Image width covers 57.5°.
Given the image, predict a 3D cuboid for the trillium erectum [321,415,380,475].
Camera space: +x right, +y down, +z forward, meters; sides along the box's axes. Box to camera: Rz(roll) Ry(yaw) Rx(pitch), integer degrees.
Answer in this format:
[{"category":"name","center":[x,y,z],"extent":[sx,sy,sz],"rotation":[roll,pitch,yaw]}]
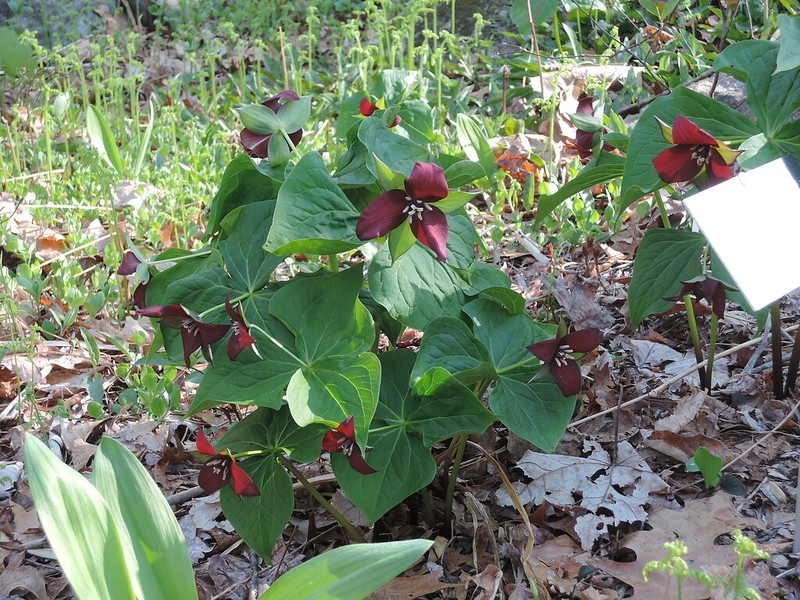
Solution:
[{"category":"trillium erectum","center":[-0.168,0.438,2.271],"extent":[0.041,0.122,0.176],"rotation":[21,41,15]}]

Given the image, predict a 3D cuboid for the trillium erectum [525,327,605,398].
[{"category":"trillium erectum","center":[0.534,0.181,2.348],"extent":[0.228,0.258,0.092],"rotation":[-27,27,7]}]

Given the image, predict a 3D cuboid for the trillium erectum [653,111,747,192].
[{"category":"trillium erectum","center":[0.935,-0.456,2.317],"extent":[0.242,0.238,0.083],"rotation":[-45,11,47]}]

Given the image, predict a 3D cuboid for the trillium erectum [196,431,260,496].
[{"category":"trillium erectum","center":[-0.544,0.538,2.399],"extent":[0.057,0.214,0.213],"rotation":[-37,-2,-43]}]

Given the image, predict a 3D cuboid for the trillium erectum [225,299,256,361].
[{"category":"trillium erectum","center":[-0.507,0.104,2.283],"extent":[0.053,0.166,0.161],"rotation":[-18,-14,-24]}]
